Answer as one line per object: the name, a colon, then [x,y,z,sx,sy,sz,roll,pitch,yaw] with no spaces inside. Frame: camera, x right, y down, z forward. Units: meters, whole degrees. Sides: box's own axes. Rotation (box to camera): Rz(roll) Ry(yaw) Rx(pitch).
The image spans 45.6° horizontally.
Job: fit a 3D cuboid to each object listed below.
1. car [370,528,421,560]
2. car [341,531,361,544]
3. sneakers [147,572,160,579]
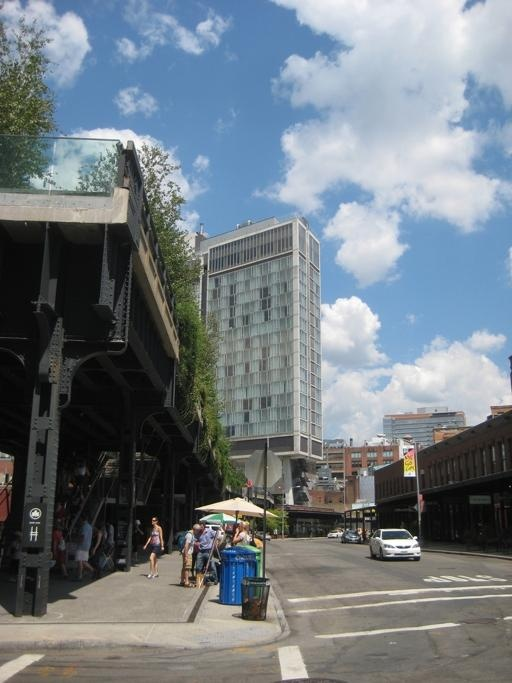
car: [6.470,9.532,28.551,1.601,1.374,3.259,0,-16,-2]
car: [10.237,21.362,66.420,1.071,1.080,2.102,2,-10,0]
sneakers: [-3.131,7.060,18.338,0.196,0.230,0.574,-5,-26,8]
